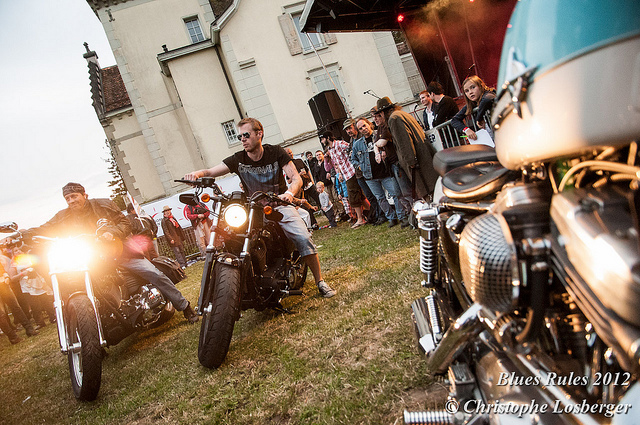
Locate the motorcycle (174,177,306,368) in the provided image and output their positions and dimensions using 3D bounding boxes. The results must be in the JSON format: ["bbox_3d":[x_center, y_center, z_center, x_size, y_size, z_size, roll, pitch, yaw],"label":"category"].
[{"bbox_3d":[-0.748,0.416,4.412,0.549,1.450,1.477,-9,12,34],"label":"motorcycle"}]

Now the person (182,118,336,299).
[{"bbox_3d":[-0.688,-0.084,5.239,1.292,2.108,1.149,-9,13,1],"label":"person"}]
